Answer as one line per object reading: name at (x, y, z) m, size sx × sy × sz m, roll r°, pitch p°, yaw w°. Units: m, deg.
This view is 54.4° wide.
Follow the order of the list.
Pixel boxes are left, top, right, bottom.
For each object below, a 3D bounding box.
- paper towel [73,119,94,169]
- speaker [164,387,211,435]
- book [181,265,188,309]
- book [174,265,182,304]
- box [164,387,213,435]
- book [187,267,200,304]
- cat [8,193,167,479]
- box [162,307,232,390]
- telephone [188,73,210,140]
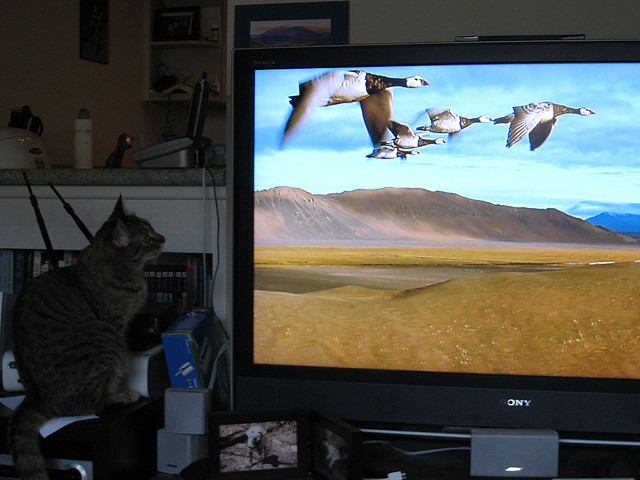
paper towel at (-0.851, -0.344, 2.252) m, size 0.075 × 0.178 × 0.072 m, roll 2°, pitch 9°, yaw -11°
speaker at (-0.336, 0.439, 1.586) m, size 0.128 × 0.110 × 0.064 m, roll 1°, pitch 1°, yaw 11°
book at (-0.431, 0.150, 1.989) m, size 0.020 × 0.137 × 0.054 m, roll -3°, pitch 12°, yaw -18°
book at (-0.454, 0.143, 1.999) m, size 0.027 × 0.118 × 0.039 m, roll -2°, pitch 12°, yaw -10°
box at (-0.334, 0.439, 1.584) m, size 0.128 × 0.109 × 0.063 m, roll 1°, pitch 0°, yaw 11°
book at (-0.398, 0.144, 1.967) m, size 0.024 × 0.096 × 0.093 m, roll -5°, pitch -3°, yaw -9°
cat at (-0.623, 0.234, 1.703) m, size 0.424 × 0.657 × 0.365 m, roll -4°, pitch 12°, yaw -19°
box at (-0.344, 0.312, 1.745) m, size 0.142 × 0.195 × 0.253 m, roll 5°, pitch 12°, yaw 22°
telephone at (-0.374, -0.413, 1.931) m, size 0.051 × 0.216 × 0.053 m, roll -5°, pitch 31°, yaw -35°
